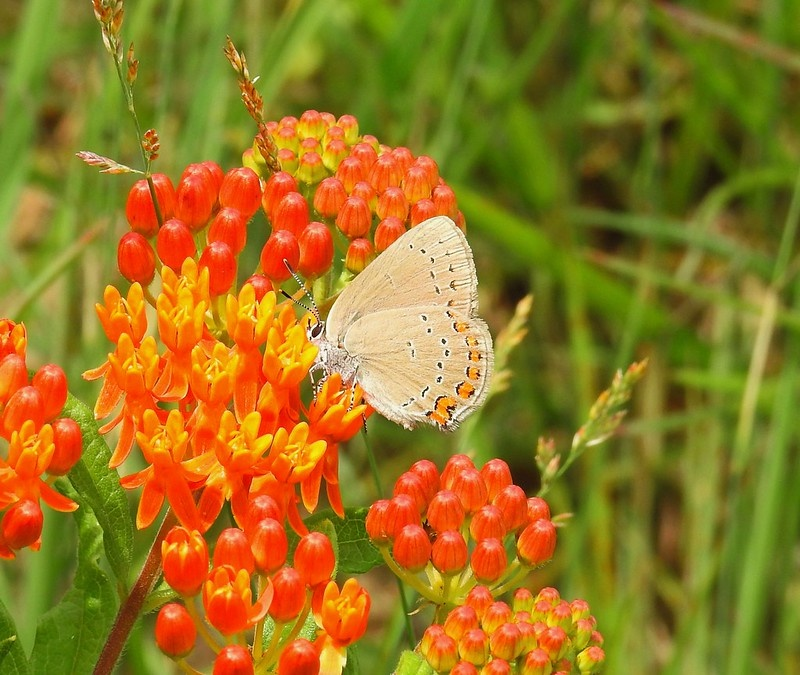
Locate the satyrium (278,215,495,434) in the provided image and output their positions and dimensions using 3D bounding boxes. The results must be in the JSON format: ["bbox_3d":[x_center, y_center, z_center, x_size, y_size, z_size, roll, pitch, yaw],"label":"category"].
[{"bbox_3d":[-0.018,-0.090,2.995,0.472,0.527,0.619,1,98,-5],"label":"satyrium"}]
